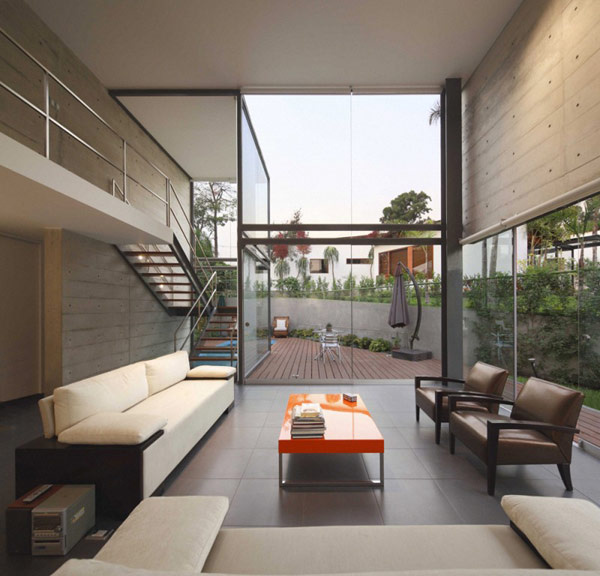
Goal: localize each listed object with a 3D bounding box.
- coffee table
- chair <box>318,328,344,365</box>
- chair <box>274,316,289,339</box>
[{"bbox_3d":[0.315,1.438,4.881,0.979,0.609,1.276,0,7,2],"label":"coffee table"},{"bbox_3d":[0.489,0.935,7.992,0.407,0.683,0.444,-1,-1,-5],"label":"chair"},{"bbox_3d":[-0.331,0.659,8.252,0.276,0.395,0.271,0,-6,2],"label":"chair"}]
